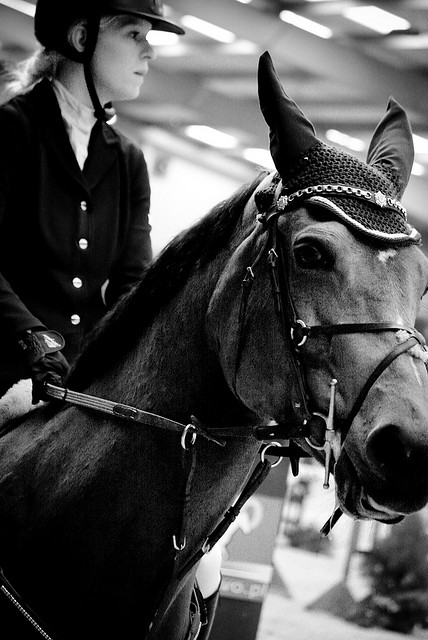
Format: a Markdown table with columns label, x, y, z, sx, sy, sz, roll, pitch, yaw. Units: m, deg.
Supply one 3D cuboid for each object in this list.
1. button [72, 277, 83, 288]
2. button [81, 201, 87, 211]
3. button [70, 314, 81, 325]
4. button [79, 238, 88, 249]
| label | x | y | z | sx | sy | sz | roll | pitch | yaw |
| --- | --- | --- | --- | --- | --- | --- | --- | --- | --- |
| button | -0.279 | -0.075 | 1.985 | 0.024 | 0.022 | 0.005 | 9 | 1 | -11 |
| button | -0.264 | -0.230 | 1.970 | 0.014 | 0.018 | 0.005 | 4 | 4 | -7 |
| button | -0.285 | 0.000 | 2.003 | 0.019 | 0.020 | 0.006 | -17 | 1 | -7 |
| button | -0.264 | -0.154 | 1.975 | 0.019 | 0.017 | 0.004 | 1 | 2 | -31 |
